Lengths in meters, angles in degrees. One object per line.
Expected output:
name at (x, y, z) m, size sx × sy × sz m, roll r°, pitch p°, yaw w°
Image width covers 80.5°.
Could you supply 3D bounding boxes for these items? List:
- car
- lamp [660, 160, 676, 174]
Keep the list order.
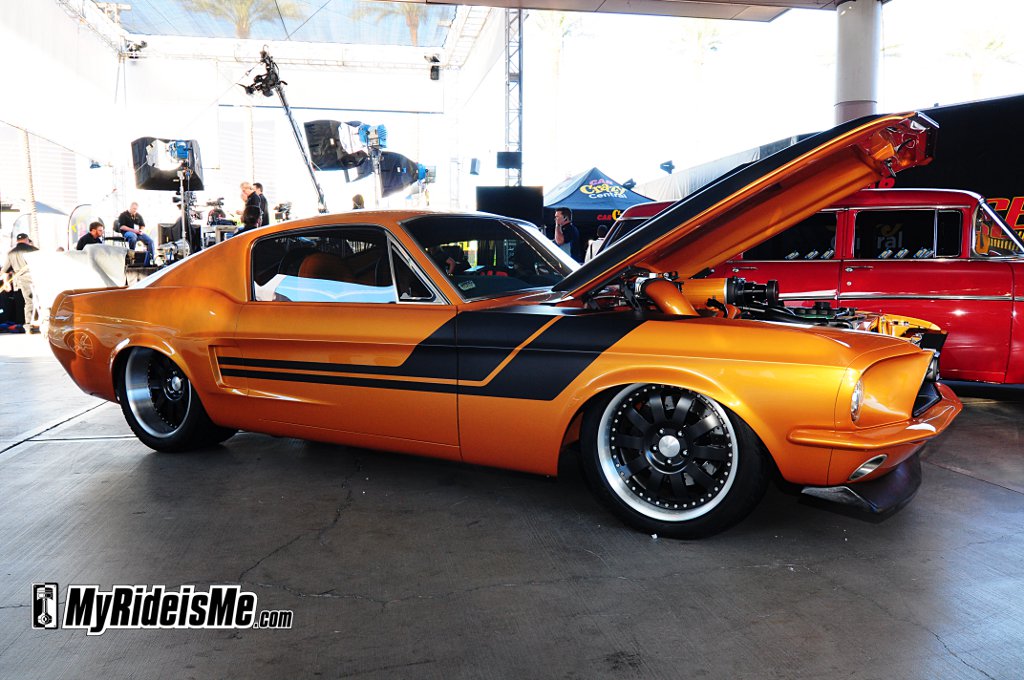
car at (-0.319, 0.046, 4.668) m, size 5.709 × 2.027 × 2.434 m, roll 0°, pitch 5°, yaw 19°
lamp at (4.686, -5.074, 17.829) m, size 0.134 × 0.445 × 0.495 m, roll 16°, pitch -15°, yaw -41°
